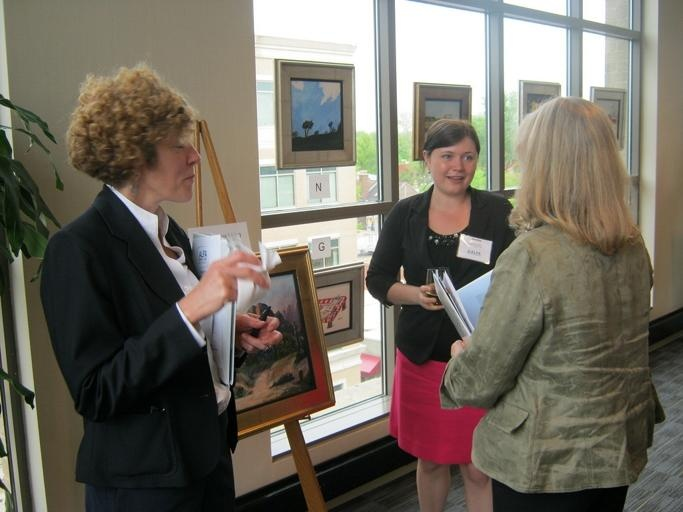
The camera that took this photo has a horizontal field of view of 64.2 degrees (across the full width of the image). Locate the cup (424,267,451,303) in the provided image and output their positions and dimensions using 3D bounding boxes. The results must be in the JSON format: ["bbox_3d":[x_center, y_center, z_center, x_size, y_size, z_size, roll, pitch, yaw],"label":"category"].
[{"bbox_3d":[0.389,0.122,2.300,0.133,0.163,0.134,-2,2,0],"label":"cup"}]

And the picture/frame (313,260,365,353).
[{"bbox_3d":[-0.045,0.341,3.444,0.036,0.502,0.474,10,12,40],"label":"picture/frame"}]

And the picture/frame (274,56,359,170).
[{"bbox_3d":[-0.172,-0.855,3.237,0.653,0.702,0.047,-5,8,-38],"label":"picture/frame"}]
